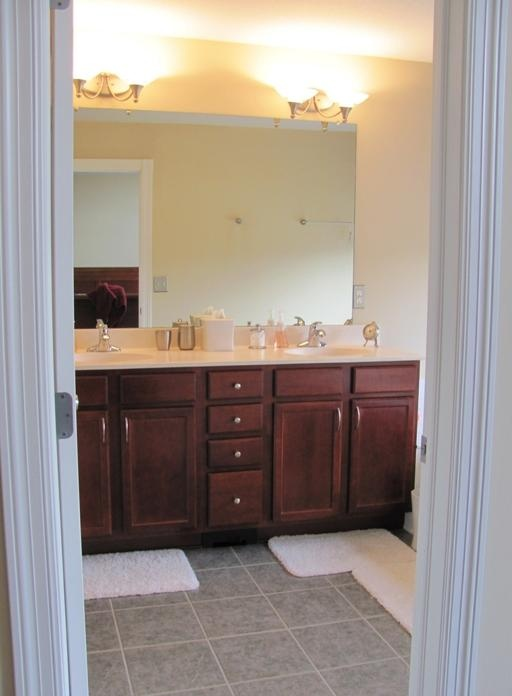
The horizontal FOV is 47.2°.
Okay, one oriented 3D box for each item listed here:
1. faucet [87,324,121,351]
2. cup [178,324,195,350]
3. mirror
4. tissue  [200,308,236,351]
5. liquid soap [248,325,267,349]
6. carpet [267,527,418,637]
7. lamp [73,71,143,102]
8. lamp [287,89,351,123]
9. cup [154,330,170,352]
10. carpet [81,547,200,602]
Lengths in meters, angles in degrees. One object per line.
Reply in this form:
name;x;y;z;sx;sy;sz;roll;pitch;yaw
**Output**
faucet;-0.772;-0.056;2.958;0.150;0.138;0.177;-1;5;-16
cup;-0.360;-0.053;3.021;0.080;0.130;0.082;0;5;0
mirror;-0.277;-0.679;3.092;1.182;0.923;0.027;-1;9;-14
tissue ;-0.198;-0.071;3.046;0.162;0.219;0.312;-3;12;-11
liquid soap;0.005;-0.060;3.138;0.110;0.137;0.110;6;8;42
carpet;0.468;0.952;2.512;0.643;0.031;0.861;-1;5;-18
lamp;-0.745;-1.302;2.945;0.316;0.114;0.282;5;15;5
lamp;0.347;-1.322;3.134;0.266;0.198;0.092;5;25;-4
cup;-0.477;-0.040;3.001;0.073;0.107;0.069;0;5;0
carpet;-0.495;0.951;2.480;0.465;0.042;0.385;-1;5;-15
